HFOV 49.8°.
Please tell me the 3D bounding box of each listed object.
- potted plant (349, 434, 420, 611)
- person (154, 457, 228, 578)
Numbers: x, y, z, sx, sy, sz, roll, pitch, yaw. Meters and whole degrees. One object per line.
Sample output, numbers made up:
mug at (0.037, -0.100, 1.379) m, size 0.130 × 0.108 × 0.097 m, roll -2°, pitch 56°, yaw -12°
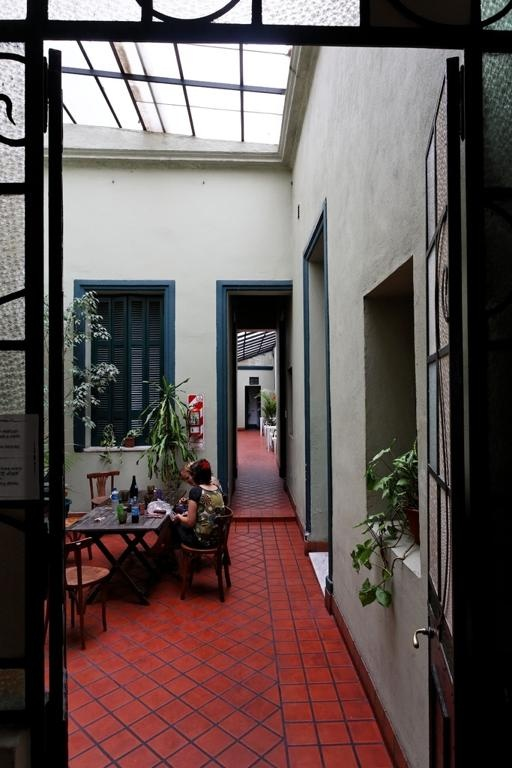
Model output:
potted plant at (0.536, 0.641, 2.351) m, size 0.256 × 0.582 × 0.740 m, roll -1°, pitch -1°, yaw 11°
person at (-0.495, 1.027, 4.246) m, size 0.352 × 0.962 × 0.326 m, roll 5°, pitch -3°, yaw 17°
